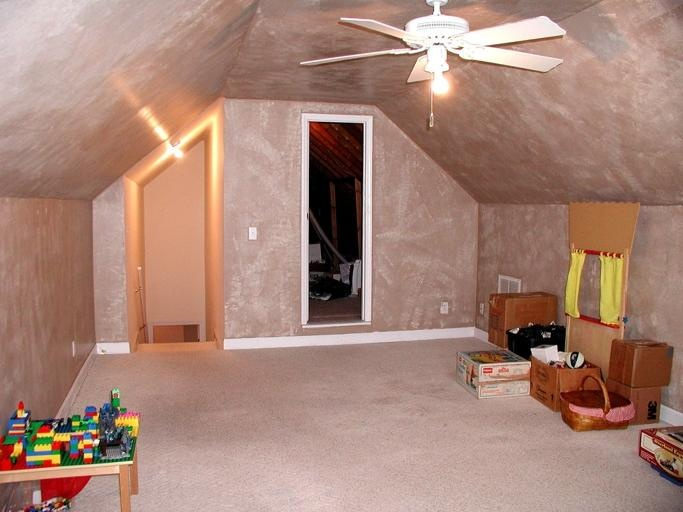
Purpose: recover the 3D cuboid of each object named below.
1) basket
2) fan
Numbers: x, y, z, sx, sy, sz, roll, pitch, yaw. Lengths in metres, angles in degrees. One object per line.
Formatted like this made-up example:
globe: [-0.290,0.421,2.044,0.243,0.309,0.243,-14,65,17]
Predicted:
basket: [2.019,1.144,4.169,0.484,0.351,0.418,1,1,-11]
fan: [0.606,-1.090,2.850,1.140,0.338,0.635,3,11,13]
